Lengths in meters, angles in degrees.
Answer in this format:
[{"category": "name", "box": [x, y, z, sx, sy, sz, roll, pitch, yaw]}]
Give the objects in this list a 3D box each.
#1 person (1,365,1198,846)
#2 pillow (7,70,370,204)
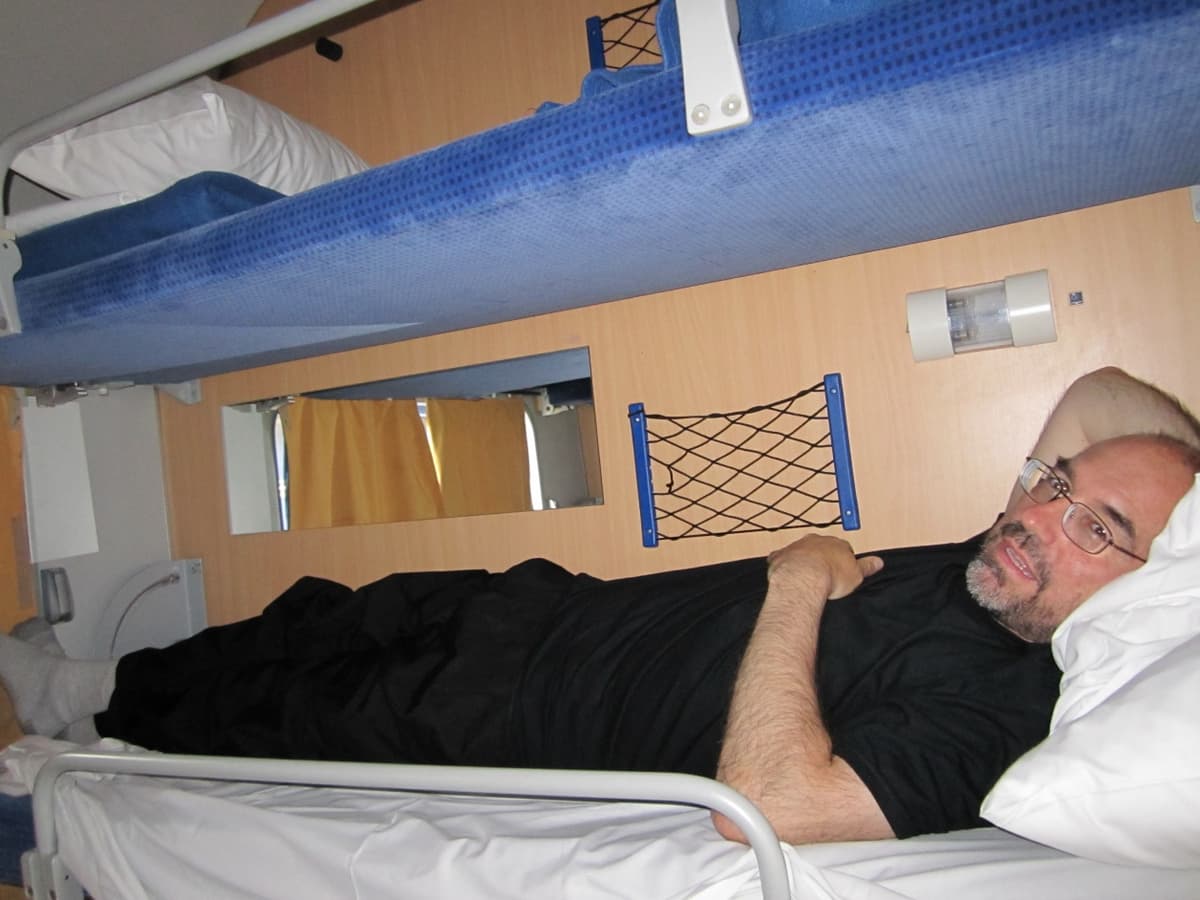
[{"category": "person", "box": [0.409, 0.157, 3.160, 3.522, 1.098, 1.609, -2, 6, 16]}, {"category": "pillow", "box": [-0.924, -0.629, 1.965, 0.463, 0.145, 0.466, -14, -4, 7]}]
